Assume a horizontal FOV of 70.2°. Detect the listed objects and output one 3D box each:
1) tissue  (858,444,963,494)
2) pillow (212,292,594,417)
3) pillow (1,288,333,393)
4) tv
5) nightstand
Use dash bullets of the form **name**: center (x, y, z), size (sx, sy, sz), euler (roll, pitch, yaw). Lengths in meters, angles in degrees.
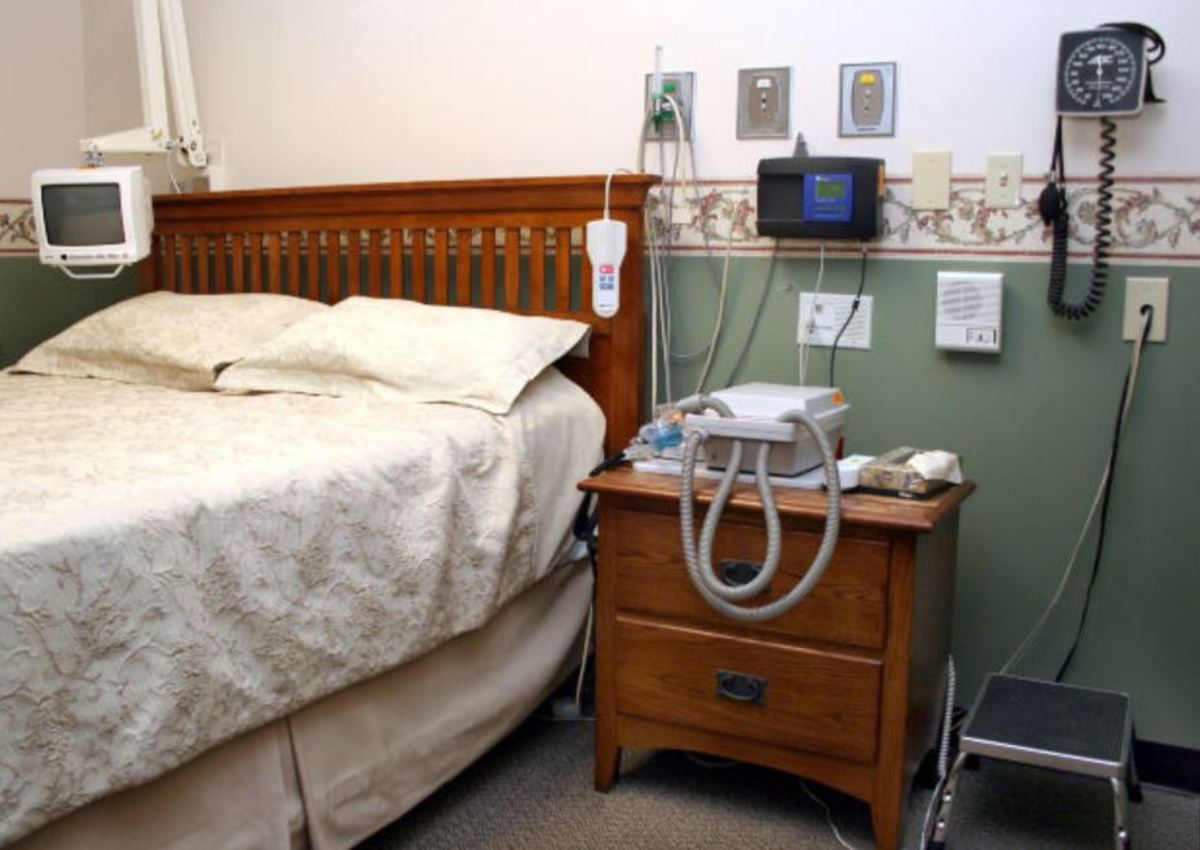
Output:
- **tissue **: center (0.634, 0.095, 1.723), size (0.159, 0.054, 0.211), euler (7, 12, 34)
- **pillow**: center (-0.487, -0.179, 2.079), size (0.851, 0.197, 0.356), euler (4, 17, 12)
- **pillow**: center (-1.083, -0.281, 2.476), size (0.869, 0.273, 0.559), euler (2, 9, 24)
- **tv**: center (-1.350, -0.520, 2.282), size (0.257, 0.298, 0.167), euler (1, 9, -8)
- **nightstand**: center (0.348, 0.390, 1.998), size (0.993, 1.010, 0.673), euler (3, 4, 24)
